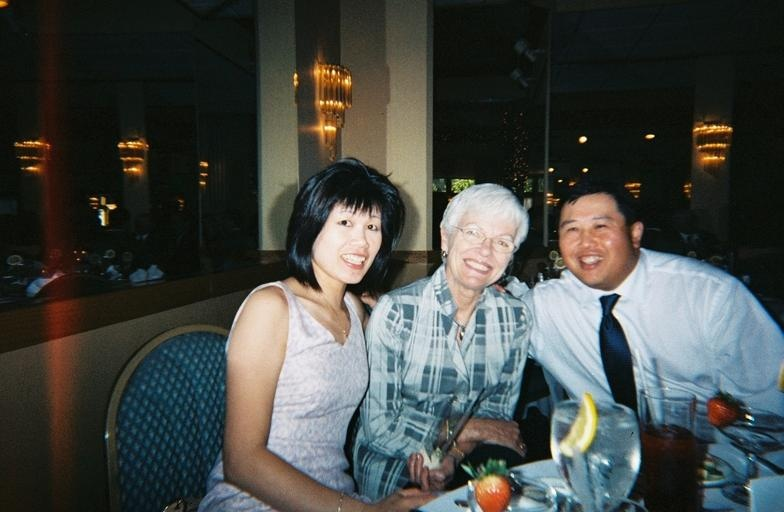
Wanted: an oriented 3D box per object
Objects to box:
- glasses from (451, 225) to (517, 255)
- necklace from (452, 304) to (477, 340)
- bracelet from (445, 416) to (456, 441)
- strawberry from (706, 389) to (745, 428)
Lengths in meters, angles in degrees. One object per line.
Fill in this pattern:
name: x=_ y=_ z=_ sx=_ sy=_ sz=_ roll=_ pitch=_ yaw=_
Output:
glasses: x=0.536 y=-0.089 z=3.184 sx=0.187 sy=0.059 sz=0.195 roll=17 pitch=-21 yaw=6
necklace: x=0.434 y=0.386 z=3.275 sx=0.131 sy=0.179 sz=0.051 roll=10 pitch=-10 yaw=-14
bracelet: x=0.263 y=0.793 z=2.617 sx=0.068 sy=0.094 sz=0.025 roll=13 pitch=-11 yaw=-27
strawberry: x=1.544 y=0.715 z=2.678 sx=0.152 sy=0.107 sz=0.134 roll=-11 pitch=-5 yaw=-17
